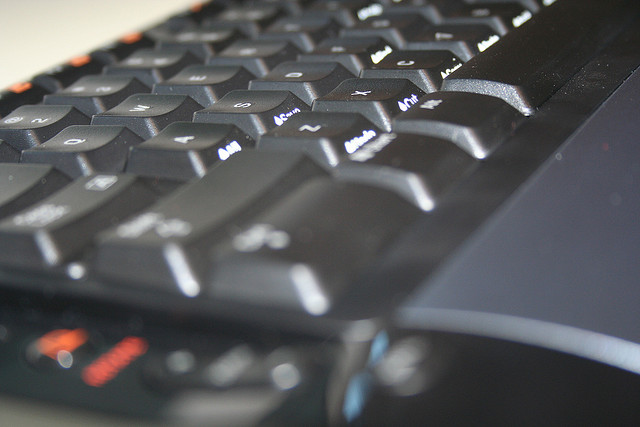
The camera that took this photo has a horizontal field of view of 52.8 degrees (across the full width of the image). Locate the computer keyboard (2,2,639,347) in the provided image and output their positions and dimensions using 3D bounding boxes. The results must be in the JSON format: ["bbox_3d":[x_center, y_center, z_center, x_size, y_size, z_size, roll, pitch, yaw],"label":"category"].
[{"bbox_3d":[-0.008,-0.075,0.536,0.527,0.055,0.399,5,45,15],"label":"computer keyboard"}]
